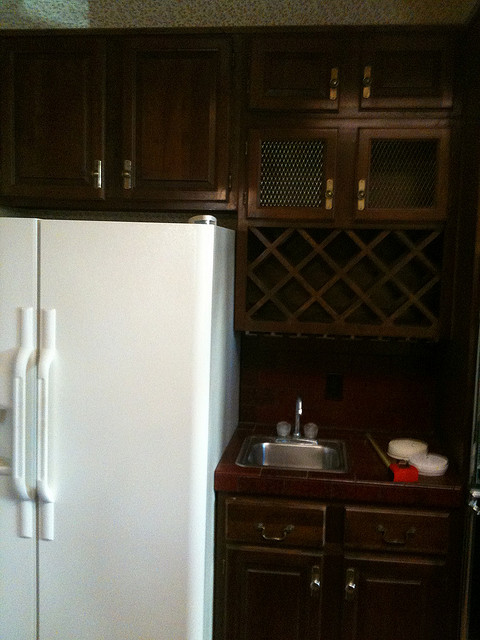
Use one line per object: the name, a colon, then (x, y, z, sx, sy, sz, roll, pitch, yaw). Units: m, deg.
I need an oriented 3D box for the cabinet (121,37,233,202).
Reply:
cabinet: (-0.186, -0.706, 2.336, 0.394, 0.810, 0.474, 1, 3, 7)

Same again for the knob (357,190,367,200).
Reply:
knob: (0.424, -0.431, 2.077, 0.022, 0.031, 0.008, -5, 11, -10)

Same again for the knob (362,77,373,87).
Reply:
knob: (0.435, -0.811, 2.041, 0.021, 0.031, 0.008, 1, -6, 3)

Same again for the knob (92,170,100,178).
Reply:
knob: (-0.521, -0.522, 2.142, 0.018, 0.026, 0.012, -1, 0, 8)

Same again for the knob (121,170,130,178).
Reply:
knob: (-0.410, -0.518, 2.131, 0.021, 0.022, 0.022, 2, 2, 16)

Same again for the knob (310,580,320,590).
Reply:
knob: (0.238, 0.843, 1.890, 0.017, 0.033, 0.028, 0, -9, 4)
